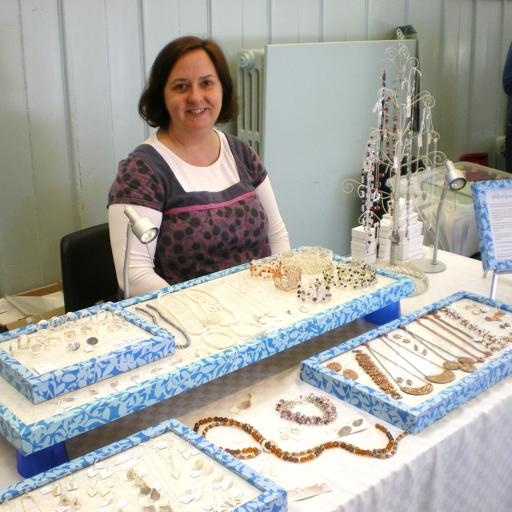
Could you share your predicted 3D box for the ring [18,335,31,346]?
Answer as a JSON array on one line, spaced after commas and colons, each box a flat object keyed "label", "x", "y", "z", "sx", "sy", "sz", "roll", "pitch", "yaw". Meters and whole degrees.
[{"label": "ring", "x": -0.499, "y": 0.176, "z": 0.949, "sx": 0.019, "sy": 0.010, "sz": 0.026, "roll": 0, "pitch": 32, "yaw": -15}]

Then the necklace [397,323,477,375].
[{"label": "necklace", "x": 0.465, "y": 0.228, "z": 1.122, "sx": 0.047, "sy": 0.012, "sz": 0.135, "roll": -11, "pitch": 25, "yaw": -24}]

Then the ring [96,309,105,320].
[{"label": "ring", "x": -0.378, "y": 0.139, "z": 1.082, "sx": 0.015, "sy": 0.004, "sz": 0.016, "roll": 4, "pitch": 32, "yaw": -3}]

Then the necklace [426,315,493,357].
[{"label": "necklace", "x": 0.535, "y": 0.199, "z": 1.195, "sx": 0.056, "sy": 0.017, "sz": 0.144, "roll": -20, "pitch": 28, "yaw": -22}]

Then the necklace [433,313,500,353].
[{"label": "necklace", "x": 0.570, "y": 0.204, "z": 1.208, "sx": 0.053, "sy": 0.012, "sz": 0.160, "roll": -21, "pitch": 32, "yaw": -19}]

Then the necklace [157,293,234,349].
[{"label": "necklace", "x": -0.148, "y": 0.138, "z": 1.141, "sx": 0.095, "sy": 0.012, "sz": 0.209, "roll": -10, "pitch": 21, "yaw": -33}]

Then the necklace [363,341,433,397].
[{"label": "necklace", "x": 0.330, "y": 0.259, "z": 1.049, "sx": 0.043, "sy": 0.012, "sz": 0.152, "roll": -9, "pitch": 19, "yaw": -19}]

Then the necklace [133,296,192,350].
[{"label": "necklace", "x": -0.222, "y": 0.158, "z": 1.077, "sx": 0.065, "sy": 0.010, "sz": 0.195, "roll": -20, "pitch": 30, "yaw": -36}]

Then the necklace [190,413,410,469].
[{"label": "necklace", "x": 0.084, "y": 0.357, "z": 0.873, "sx": 0.353, "sy": 0.042, "sz": 0.148, "roll": 0, "pitch": 7, "yaw": 2}]

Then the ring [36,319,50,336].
[{"label": "ring", "x": -0.484, "y": 0.158, "z": 1.009, "sx": 0.024, "sy": 0.026, "sz": 0.026, "roll": 6, "pitch": 5, "yaw": -1}]

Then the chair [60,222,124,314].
[{"label": "chair", "x": -0.548, "y": 0.041, "z": 1.495, "sx": 0.173, "sy": 0.327, "sz": 0.179, "roll": 19, "pitch": 28, "yaw": 38}]

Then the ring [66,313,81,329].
[{"label": "ring", "x": -0.434, "y": 0.146, "z": 1.050, "sx": 0.023, "sy": 0.015, "sz": 0.043, "roll": -2, "pitch": 30, "yaw": -19}]

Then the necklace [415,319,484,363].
[{"label": "necklace", "x": 0.511, "y": 0.202, "z": 1.172, "sx": 0.055, "sy": 0.016, "sz": 0.154, "roll": -16, "pitch": 31, "yaw": -26}]

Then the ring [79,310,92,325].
[{"label": "ring", "x": -0.412, "y": 0.142, "z": 1.070, "sx": 0.021, "sy": 0.026, "sz": 0.008, "roll": 9, "pitch": -7, "yaw": 44}]

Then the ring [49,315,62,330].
[{"label": "ring", "x": -0.460, "y": 0.147, "z": 1.014, "sx": 0.020, "sy": 0.014, "sz": 0.028, "roll": -5, "pitch": 29, "yaw": -10}]

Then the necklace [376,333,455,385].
[{"label": "necklace", "x": 0.393, "y": 0.231, "z": 1.073, "sx": 0.059, "sy": 0.011, "sz": 0.203, "roll": -20, "pitch": 26, "yaw": -19}]

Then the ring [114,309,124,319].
[{"label": "ring", "x": -0.339, "y": 0.137, "z": 1.086, "sx": 0.016, "sy": 0.018, "sz": 0.005, "roll": -13, "pitch": -22, "yaw": 22}]

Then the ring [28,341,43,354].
[{"label": "ring", "x": -0.455, "y": 0.182, "z": 0.920, "sx": 0.023, "sy": 0.010, "sz": 0.053, "roll": -9, "pitch": 16, "yaw": -24}]
